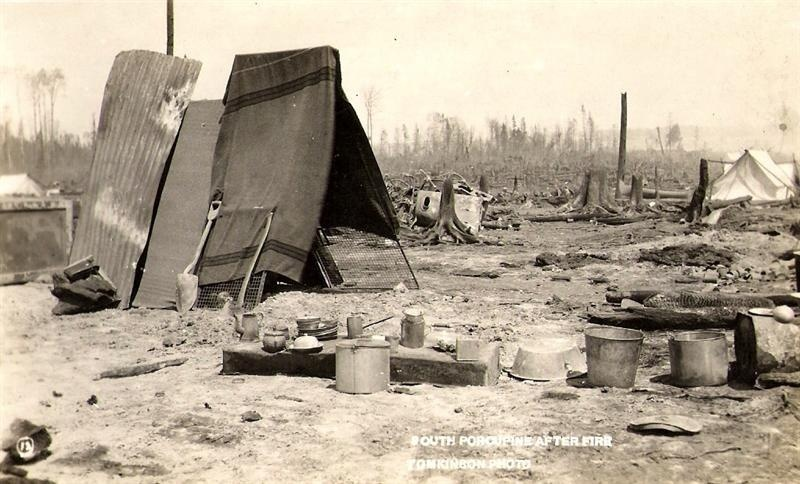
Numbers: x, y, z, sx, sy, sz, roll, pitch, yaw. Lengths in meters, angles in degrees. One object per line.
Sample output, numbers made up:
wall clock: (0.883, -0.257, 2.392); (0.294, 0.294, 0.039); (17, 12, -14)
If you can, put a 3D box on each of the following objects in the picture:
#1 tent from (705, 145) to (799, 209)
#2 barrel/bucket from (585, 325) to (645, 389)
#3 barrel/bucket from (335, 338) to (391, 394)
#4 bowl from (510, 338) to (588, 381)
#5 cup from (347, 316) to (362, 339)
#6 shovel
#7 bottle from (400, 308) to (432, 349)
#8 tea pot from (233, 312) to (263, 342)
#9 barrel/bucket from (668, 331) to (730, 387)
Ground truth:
tent: (10.729, -2.003, 23.234); (2.292, 1.696, 2.223); (2, 3, 25)
barrel/bucket: (2.827, 1.548, 10.183); (0.734, 0.738, 0.385); (1, 3, 12)
barrel/bucket: (-0.516, 1.708, 10.442); (0.757, 0.617, 0.734); (-1, 0, 0)
bowl: (2.011, 1.650, 10.512); (1.011, 0.477, 0.416); (1, 3, 12)
cup: (-0.651, 1.195, 10.694); (0.204, 0.295, 0.351); (1, 3, -6)
shovel: (-3.510, 0.299, 13.250); (0.468, 2.040, 0.309); (19, -24, -15)
bottle: (0.167, 1.209, 10.743); (0.365, 0.534, 0.328); (1, 3, 2)
tea pot: (-2.236, 1.255, 11.246); (0.429, 0.403, 0.338); (0, 1, -1)
barrel/bucket: (3.977, 1.515, 10.215); (0.758, 0.630, 0.719); (-3, 1, 0)
